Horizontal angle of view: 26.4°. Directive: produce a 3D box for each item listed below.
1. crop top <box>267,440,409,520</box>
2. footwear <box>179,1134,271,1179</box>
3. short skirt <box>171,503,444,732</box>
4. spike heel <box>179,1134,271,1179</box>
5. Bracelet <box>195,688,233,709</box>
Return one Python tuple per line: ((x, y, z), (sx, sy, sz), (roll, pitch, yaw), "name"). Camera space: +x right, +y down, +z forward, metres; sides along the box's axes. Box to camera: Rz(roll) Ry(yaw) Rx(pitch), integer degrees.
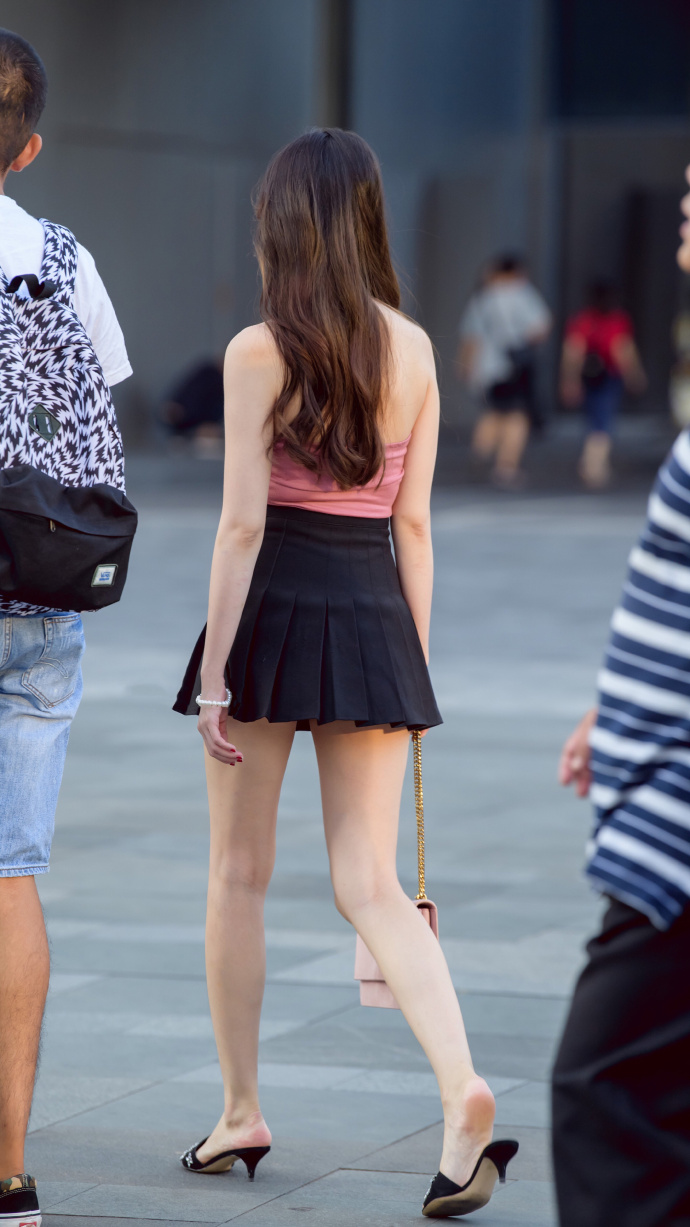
((-0.012, -0.267, 2.812), (0.213, 0.128, 0.156), (-6, 15, -32), "crop top")
((-0.235, 1.077, 2.901), (0.166, 0.060, 0.075), (5, 2, 18), "footwear")
((-0.087, -0.008, 2.918), (0.581, 0.523, 0.417), (2, 7, -8), "short skirt")
((-0.235, 1.076, 2.902), (0.166, 0.060, 0.075), (5, 2, 18), "spike heel")
((-0.245, 0.159, 2.773), (0.039, 0.023, 0.048), (1, 0, -35), "Bracelet")
